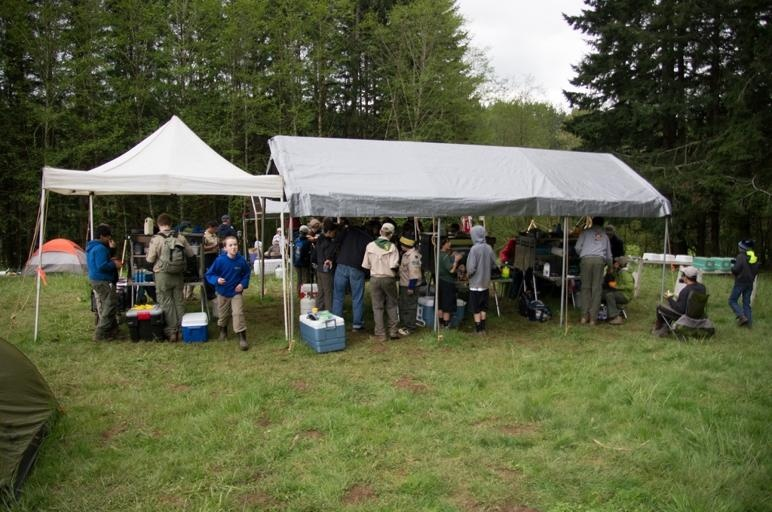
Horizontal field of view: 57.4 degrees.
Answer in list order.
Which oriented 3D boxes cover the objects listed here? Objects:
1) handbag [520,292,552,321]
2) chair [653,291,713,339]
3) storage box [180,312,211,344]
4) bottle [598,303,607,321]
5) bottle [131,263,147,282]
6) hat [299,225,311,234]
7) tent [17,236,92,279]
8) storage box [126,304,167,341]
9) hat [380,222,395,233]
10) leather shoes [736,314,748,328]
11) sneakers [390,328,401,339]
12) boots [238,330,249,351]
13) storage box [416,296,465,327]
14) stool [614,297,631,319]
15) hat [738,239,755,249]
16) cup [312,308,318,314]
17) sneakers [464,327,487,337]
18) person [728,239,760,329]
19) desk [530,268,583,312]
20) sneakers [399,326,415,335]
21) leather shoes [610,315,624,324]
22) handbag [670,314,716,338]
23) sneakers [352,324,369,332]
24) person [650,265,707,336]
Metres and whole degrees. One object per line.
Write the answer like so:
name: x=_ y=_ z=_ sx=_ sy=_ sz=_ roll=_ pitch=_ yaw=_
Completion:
handbag: x=4.357 y=1.473 z=20.915 sx=0.593 sy=0.506 sz=0.959 roll=-1 pitch=16 yaw=-17
chair: x=8.135 y=1.578 z=19.472 sx=1.145 sy=1.247 sz=1.423 roll=1 pitch=2 yaw=-10
storage box: x=-5.103 y=1.965 z=18.890 sx=0.600 sy=0.466 sz=0.752 roll=0 pitch=6 yaw=-7
bottle: x=6.355 y=1.667 z=20.811 sx=0.341 sy=0.407 sz=0.443 roll=4 pitch=12 yaw=9
bottle: x=-6.785 y=0.462 z=19.566 sx=0.459 sy=0.466 sz=0.456 roll=1 pitch=-3 yaw=-37
hat: x=-2.564 y=-0.830 z=22.042 sx=0.211 sy=0.235 sz=0.296 roll=9 pitch=13 yaw=26
tent: x=-12.205 y=0.080 z=26.138 sx=2.114 sy=1.190 sz=2.464 roll=0 pitch=4 yaw=-5
storage box: x=-6.491 y=1.750 z=19.185 sx=1.086 sy=0.911 sz=1.114 roll=1 pitch=17 yaw=4
hat: x=0.034 y=-0.741 z=19.045 sx=0.229 sy=0.294 sz=0.296 roll=7 pitch=0 yaw=10
leather shoes: x=10.161 y=1.874 z=20.169 sx=0.165 sy=0.301 sz=0.439 roll=-26 pitch=-16 yaw=-8
sneakers: x=0.237 y=2.151 z=19.340 sx=0.253 sy=0.281 sz=0.267 roll=3 pitch=-7 yaw=-40
boots: x=-3.755 y=2.233 z=18.784 sx=0.248 sy=0.522 sz=0.701 roll=2 pitch=0 yaw=-11
storage box: x=1.562 y=1.601 z=20.265 sx=1.071 sy=0.551 sz=0.845 roll=-1 pitch=5 yaw=-7
stool: x=6.941 y=1.541 z=20.810 sx=0.562 sy=0.588 sz=0.453 roll=-1 pitch=9 yaw=-5
hat: x=10.235 y=-0.351 z=20.066 sx=0.235 sy=0.263 sz=0.332 roll=2 pitch=16 yaw=-7
cup: x=-1.905 y=1.483 z=19.078 sx=0.128 sy=0.127 sz=0.126 roll=1 pitch=-7 yaw=0
sneakers: x=2.441 y=2.138 z=19.649 sx=0.229 sy=0.306 sz=0.679 roll=3 pitch=-10 yaw=-44
person: x=10.214 y=0.788 z=20.215 sx=0.692 sy=1.853 sz=0.741 roll=2 pitch=0 yaw=27
desk: x=5.118 y=0.880 z=21.469 sx=1.110 sy=1.326 sz=2.006 roll=1 pitch=0 yaw=-1
sneakers: x=0.573 y=2.107 z=19.635 sx=0.327 sy=0.149 sz=0.191 roll=18 pitch=12 yaw=-3
leather shoes: x=6.724 y=1.871 z=20.540 sx=0.403 sy=0.301 sz=0.200 roll=-1 pitch=1 yaw=19
handbag: x=8.308 y=1.947 z=19.067 sx=0.712 sy=0.372 sz=0.733 roll=0 pitch=1 yaw=-1
sneakers: x=-0.701 y=2.044 z=19.834 sx=0.409 sy=0.182 sz=0.153 roll=-1 pitch=3 yaw=-10
person: x=8.120 y=1.318 z=19.534 sx=0.968 sy=2.288 sz=1.224 roll=-12 pitch=24 yaw=-25
